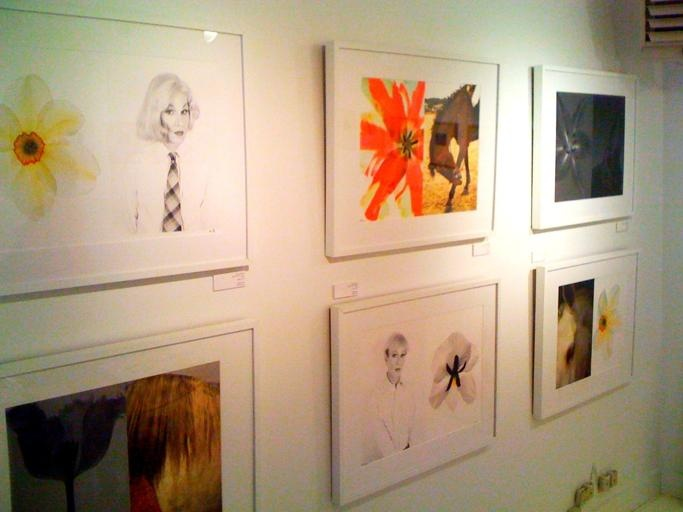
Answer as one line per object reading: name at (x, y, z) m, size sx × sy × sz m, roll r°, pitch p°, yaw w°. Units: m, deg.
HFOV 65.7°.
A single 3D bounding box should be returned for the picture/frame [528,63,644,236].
picture/frame at (1.207, -0.556, 2.665) m, size 0.810 × 0.822 × 0.082 m, roll -6°, pitch 7°, yaw -35°
